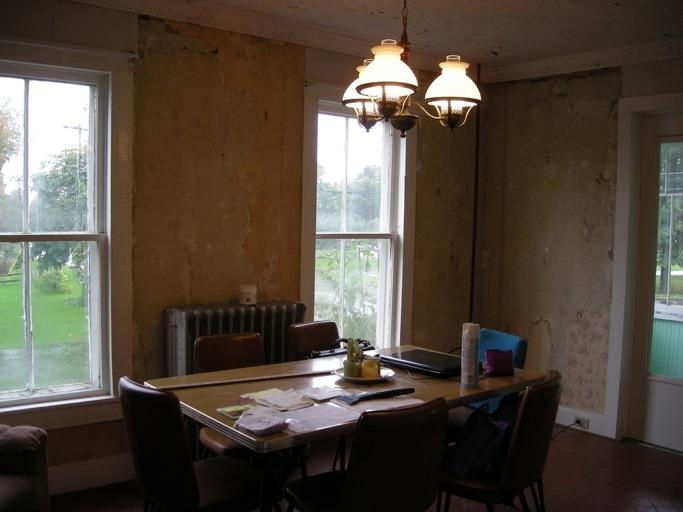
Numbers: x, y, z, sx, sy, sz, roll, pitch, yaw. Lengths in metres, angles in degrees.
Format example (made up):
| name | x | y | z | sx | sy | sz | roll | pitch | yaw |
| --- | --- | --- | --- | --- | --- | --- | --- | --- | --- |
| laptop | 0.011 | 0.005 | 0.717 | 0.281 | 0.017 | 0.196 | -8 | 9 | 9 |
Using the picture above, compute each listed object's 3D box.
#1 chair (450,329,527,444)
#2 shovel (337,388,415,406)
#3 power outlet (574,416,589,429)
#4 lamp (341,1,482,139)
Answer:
| name | x | y | z | sx | sy | sz | roll | pitch | yaw |
| --- | --- | --- | --- | --- | --- | --- | --- | --- | --- |
| chair | 0.942 | 0.791 | 3.820 | 0.311 | 0.578 | 0.371 | 15 | 20 | 38 |
| shovel | 0.167 | 0.695 | 3.024 | 0.332 | 0.040 | 0.122 | -5 | 8 | -31 |
| power outlet | 1.960 | 1.357 | 4.939 | 0.073 | 0.097 | 0.136 | -6 | 5 | -35 |
| lamp | 0.345 | -1.136 | 3.461 | 0.663 | 0.905 | 1.576 | 1 | 9 | -1 |
